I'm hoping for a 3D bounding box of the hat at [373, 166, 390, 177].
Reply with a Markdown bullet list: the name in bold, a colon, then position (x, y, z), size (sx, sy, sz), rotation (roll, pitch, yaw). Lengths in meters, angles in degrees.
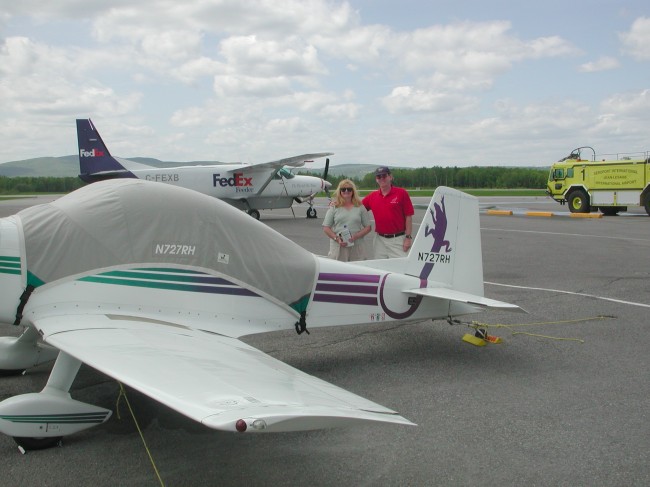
- **hat**: position (0.714, -0.898, 6.469), size (0.186, 0.143, 0.307), rotation (1, 13, 8)
